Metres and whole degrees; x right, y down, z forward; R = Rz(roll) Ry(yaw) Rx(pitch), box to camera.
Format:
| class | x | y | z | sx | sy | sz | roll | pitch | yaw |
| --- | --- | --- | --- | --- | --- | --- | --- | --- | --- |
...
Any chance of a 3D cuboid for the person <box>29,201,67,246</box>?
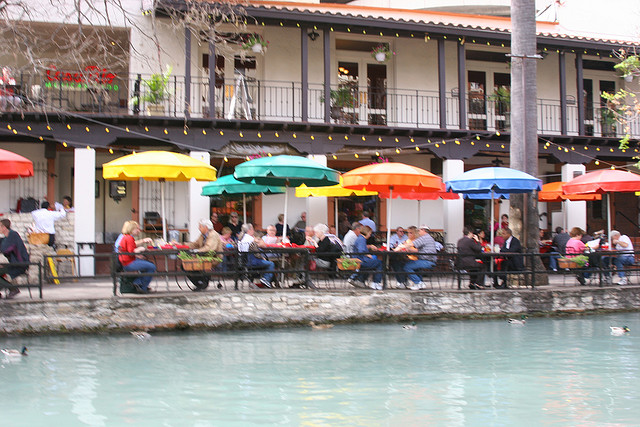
| class | x | y | z | sx | sy | sz | roll | pitch | yaw |
| --- | --- | --- | --- | --- | --- | --- | --- | --- | --- |
| person | -7.481 | 0.343 | 29.517 | 1.145 | 1.747 | 0.588 | 4 | 16 | -11 |

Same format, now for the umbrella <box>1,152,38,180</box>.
| class | x | y | z | sx | sy | sz | roll | pitch | yaw |
| --- | --- | --- | --- | --- | --- | --- | --- | --- | --- |
| umbrella | -7.562 | -1.166 | 26.626 | 0.773 | 0.571 | 1.573 | 0 | -2 | -14 |

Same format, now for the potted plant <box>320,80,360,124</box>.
| class | x | y | z | sx | sy | sz | roll | pitch | yaw |
| --- | --- | --- | --- | --- | --- | --- | --- | --- | --- |
| potted plant | 0.350 | -3.551 | 33.068 | 0.842 | 1.167 | 1.118 | 23 | 12 | 41 |

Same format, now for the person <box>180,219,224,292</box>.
| class | x | y | z | sx | sy | sz | roll | pitch | yaw |
| --- | --- | --- | --- | --- | --- | --- | --- | --- | --- |
| person | -2.852 | 1.047 | 26.395 | 0.931 | 1.763 | 1.489 | 0 | -2 | -5 |

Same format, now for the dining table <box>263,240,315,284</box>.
| class | x | y | z | sx | sy | sz | roll | pitch | yaw |
| --- | --- | --- | --- | --- | --- | --- | --- | --- | --- |
| dining table | -0.787 | 1.249 | 27.198 | 1.125 | 1.117 | 1.044 | 0 | -5 | -1 |

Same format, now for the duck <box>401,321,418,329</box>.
| class | x | y | z | sx | sy | sz | roll | pitch | yaw |
| --- | --- | --- | --- | --- | --- | --- | --- | --- | --- |
| duck | 2.159 | 2.725 | 25.788 | 0.404 | 0.131 | 0.334 | 0 | -2 | -12 |

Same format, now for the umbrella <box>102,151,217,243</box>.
| class | x | y | z | sx | sy | sz | roll | pitch | yaw |
| --- | --- | --- | --- | --- | --- | --- | --- | --- | --- |
| umbrella | -4.203 | -0.459 | 27.751 | 2.597 | 2.417 | 2.579 | -2 | -1 | -12 |

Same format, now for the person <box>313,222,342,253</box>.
| class | x | y | z | sx | sy | sz | roll | pitch | yaw |
| --- | --- | --- | --- | --- | --- | --- | --- | --- | --- |
| person | 0.187 | 0.635 | 26.950 | 0.633 | 0.705 | 0.918 | 0 | -2 | 1 |

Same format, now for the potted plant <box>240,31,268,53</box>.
| class | x | y | z | sx | sy | sz | roll | pitch | yaw |
| --- | --- | --- | --- | --- | --- | --- | --- | --- | --- |
| potted plant | -2.017 | -5.245 | 32.378 | 0.837 | 0.693 | 1.481 | 0 | -2 | -3 |

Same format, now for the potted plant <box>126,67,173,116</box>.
| class | x | y | z | sx | sy | sz | roll | pitch | yaw |
| --- | --- | --- | --- | --- | --- | --- | --- | --- | --- |
| potted plant | -4.890 | -3.470 | 30.986 | 0.872 | 0.969 | 0.923 | -1 | 4 | 5 |

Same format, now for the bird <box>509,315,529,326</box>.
| class | x | y | z | sx | sy | sz | roll | pitch | yaw |
| --- | --- | --- | --- | --- | --- | --- | --- | --- | --- |
| bird | 4.879 | 2.634 | 26.214 | 0.486 | 0.273 | 0.168 | 5 | -7 | 0 |

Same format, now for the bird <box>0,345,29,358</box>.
| class | x | y | z | sx | sy | sz | roll | pitch | yaw |
| --- | --- | --- | --- | --- | --- | --- | --- | --- | --- |
| bird | -6.787 | 3.092 | 23.804 | 0.589 | 0.207 | 0.575 | 0 | -2 | -14 |

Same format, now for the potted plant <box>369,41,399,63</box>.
| class | x | y | z | sx | sy | sz | roll | pitch | yaw |
| --- | --- | --- | --- | --- | --- | --- | --- | --- | --- |
| potted plant | 1.870 | -5.141 | 33.808 | 0.756 | 0.543 | 0.751 | 2 | 0 | 37 |

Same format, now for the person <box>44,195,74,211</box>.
| class | x | y | z | sx | sy | sz | roll | pitch | yaw |
| --- | --- | --- | --- | --- | --- | --- | --- | --- | --- |
| person | -7.634 | -0.278 | 31.130 | 0.364 | 0.304 | 0.966 | 13 | 3 | 20 |

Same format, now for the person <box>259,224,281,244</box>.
| class | x | y | z | sx | sy | sz | roll | pitch | yaw |
| --- | --- | --- | --- | --- | --- | --- | --- | --- | --- |
| person | -1.257 | 0.484 | 28.341 | 0.752 | 0.620 | 0.418 | 3 | -11 | -7 |

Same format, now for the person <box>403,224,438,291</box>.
| class | x | y | z | sx | sy | sz | roll | pitch | yaw |
| --- | --- | --- | --- | --- | --- | --- | --- | --- | --- |
| person | 2.493 | 1.123 | 26.955 | 0.829 | 1.614 | 0.953 | 0 | -3 | 3 |

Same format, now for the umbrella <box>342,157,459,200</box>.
| class | x | y | z | sx | sy | sz | roll | pitch | yaw |
| --- | --- | --- | --- | --- | --- | --- | --- | --- | --- |
| umbrella | 1.696 | -0.801 | 27.413 | 1.749 | 0.586 | 1.756 | -1 | -5 | 42 |

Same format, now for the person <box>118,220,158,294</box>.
| class | x | y | z | sx | sy | sz | roll | pitch | yaw |
| --- | --- | --- | --- | --- | --- | --- | --- | --- | --- |
| person | -4.486 | 1.094 | 26.208 | 0.919 | 1.755 | 1.436 | 0 | -2 | -11 |

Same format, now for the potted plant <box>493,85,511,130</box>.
| class | x | y | z | sx | sy | sz | roll | pitch | yaw |
| --- | --- | --- | --- | --- | --- | --- | --- | --- | --- |
| potted plant | 5.946 | -3.389 | 34.919 | 0.426 | 1.367 | 0.580 | -1 | -3 | 18 |

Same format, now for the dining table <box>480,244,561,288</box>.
| class | x | y | z | sx | sy | sz | roll | pitch | yaw |
| --- | --- | --- | --- | --- | --- | --- | --- | --- | --- |
| dining table | 5.096 | 1.434 | 26.952 | 1.658 | 0.927 | 1.358 | 0 | -2 | 9 |

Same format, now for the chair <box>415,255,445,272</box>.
| class | x | y | z | sx | sy | sz | roll | pitch | yaw |
| --- | --- | --- | --- | --- | --- | --- | --- | --- | --- |
| chair | 2.784 | 1.304 | 27.623 | 0.700 | 0.623 | 0.359 | 1 | 9 | 6 |

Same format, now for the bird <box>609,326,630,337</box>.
| class | x | y | z | sx | sy | sz | roll | pitch | yaw |
| --- | --- | --- | --- | --- | --- | --- | --- | --- | --- |
| bird | 7.047 | 2.809 | 25.318 | 0.368 | 0.224 | 0.179 | 12 | -13 | 8 |

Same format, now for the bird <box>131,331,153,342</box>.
| class | x | y | z | sx | sy | sz | roll | pitch | yaw |
| --- | --- | --- | --- | --- | --- | --- | --- | --- | --- |
| bird | -4.176 | 2.861 | 24.846 | 0.551 | 0.150 | 0.217 | 8 | -4 | 25 |
